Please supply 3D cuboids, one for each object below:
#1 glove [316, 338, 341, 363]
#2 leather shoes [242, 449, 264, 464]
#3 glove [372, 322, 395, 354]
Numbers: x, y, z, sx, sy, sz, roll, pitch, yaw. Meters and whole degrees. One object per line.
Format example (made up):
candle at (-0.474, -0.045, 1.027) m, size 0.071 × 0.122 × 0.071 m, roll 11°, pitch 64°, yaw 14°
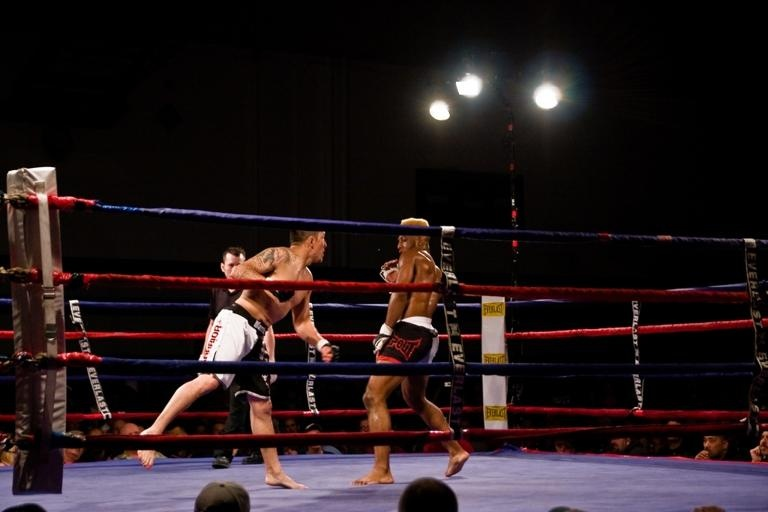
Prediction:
glove at (-0.485, 0.751, 6.841) m, size 0.226 × 0.086 × 0.225 m, roll 15°, pitch -5°, yaw 30°
leather shoes at (-1.311, 1.954, 8.317) m, size 0.303 × 0.101 × 0.119 m, roll -2°, pitch -11°, yaw 22°
glove at (-0.026, 0.674, 7.057) m, size 0.108 × 0.240 × 0.185 m, roll 41°, pitch -8°, yaw -11°
